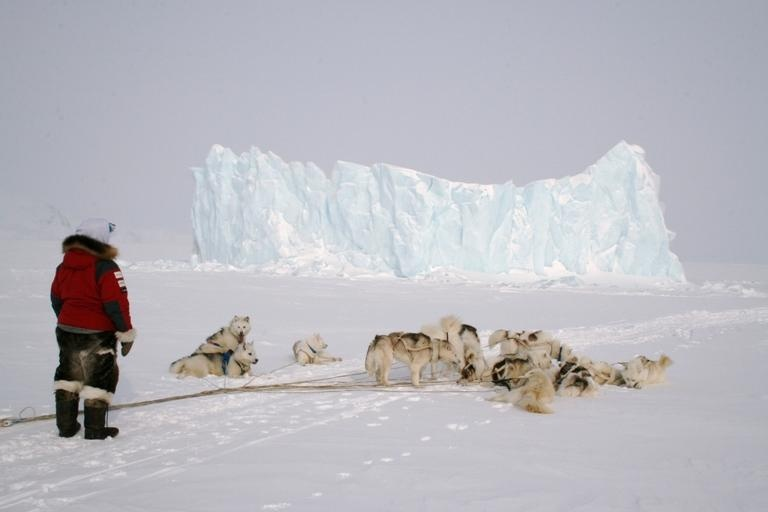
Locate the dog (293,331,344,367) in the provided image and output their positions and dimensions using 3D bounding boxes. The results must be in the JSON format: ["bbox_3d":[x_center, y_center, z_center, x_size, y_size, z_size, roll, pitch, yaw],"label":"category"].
[{"bbox_3d":[-0.978,1.341,13.348,0.383,0.310,0.617,4,2,28],"label":"dog"}]

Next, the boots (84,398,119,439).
[{"bbox_3d":[-3.087,1.856,10.546,0.280,0.460,0.494,2,5,22],"label":"boots"}]

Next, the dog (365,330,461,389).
[{"bbox_3d":[0.351,1.306,11.932,1.223,0.635,0.421,5,-1,-11],"label":"dog"}]

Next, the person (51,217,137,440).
[{"bbox_3d":[-3.327,0.825,10.690,0.924,2.507,0.419,2,-6,-13],"label":"person"}]

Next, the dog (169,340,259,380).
[{"bbox_3d":[-2.237,1.417,12.474,1.204,0.449,0.377,-4,-7,12],"label":"dog"}]

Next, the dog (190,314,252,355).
[{"bbox_3d":[-2.151,1.126,12.684,0.948,0.455,0.333,-17,-3,26],"label":"dog"}]

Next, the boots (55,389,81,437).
[{"bbox_3d":[-3.569,1.779,10.579,0.280,0.541,0.204,2,-7,-18],"label":"boots"}]
